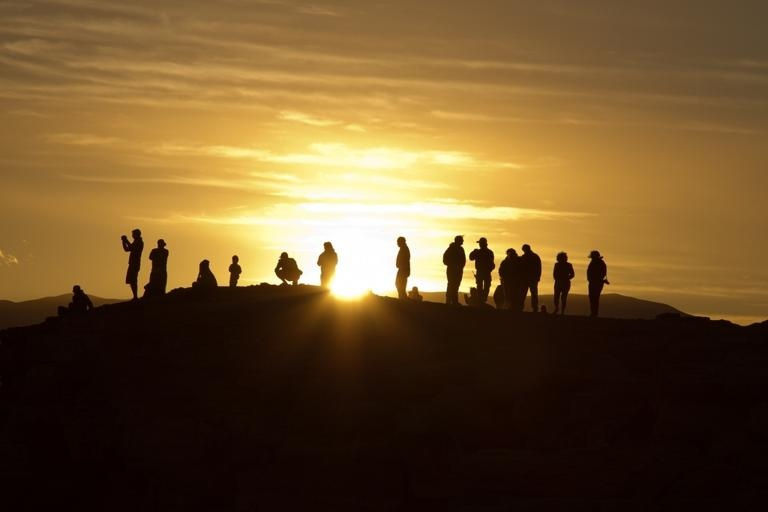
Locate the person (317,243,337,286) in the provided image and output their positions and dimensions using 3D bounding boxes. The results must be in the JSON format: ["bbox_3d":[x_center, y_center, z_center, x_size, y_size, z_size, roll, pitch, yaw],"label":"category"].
[{"bbox_3d":[-2.250,0.395,51.140,0.644,1.816,0.722,4,2,8],"label":"person"}]

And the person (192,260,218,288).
[{"bbox_3d":[-7.167,0.734,51.754,0.802,1.008,0.859,4,3,15],"label":"person"}]
